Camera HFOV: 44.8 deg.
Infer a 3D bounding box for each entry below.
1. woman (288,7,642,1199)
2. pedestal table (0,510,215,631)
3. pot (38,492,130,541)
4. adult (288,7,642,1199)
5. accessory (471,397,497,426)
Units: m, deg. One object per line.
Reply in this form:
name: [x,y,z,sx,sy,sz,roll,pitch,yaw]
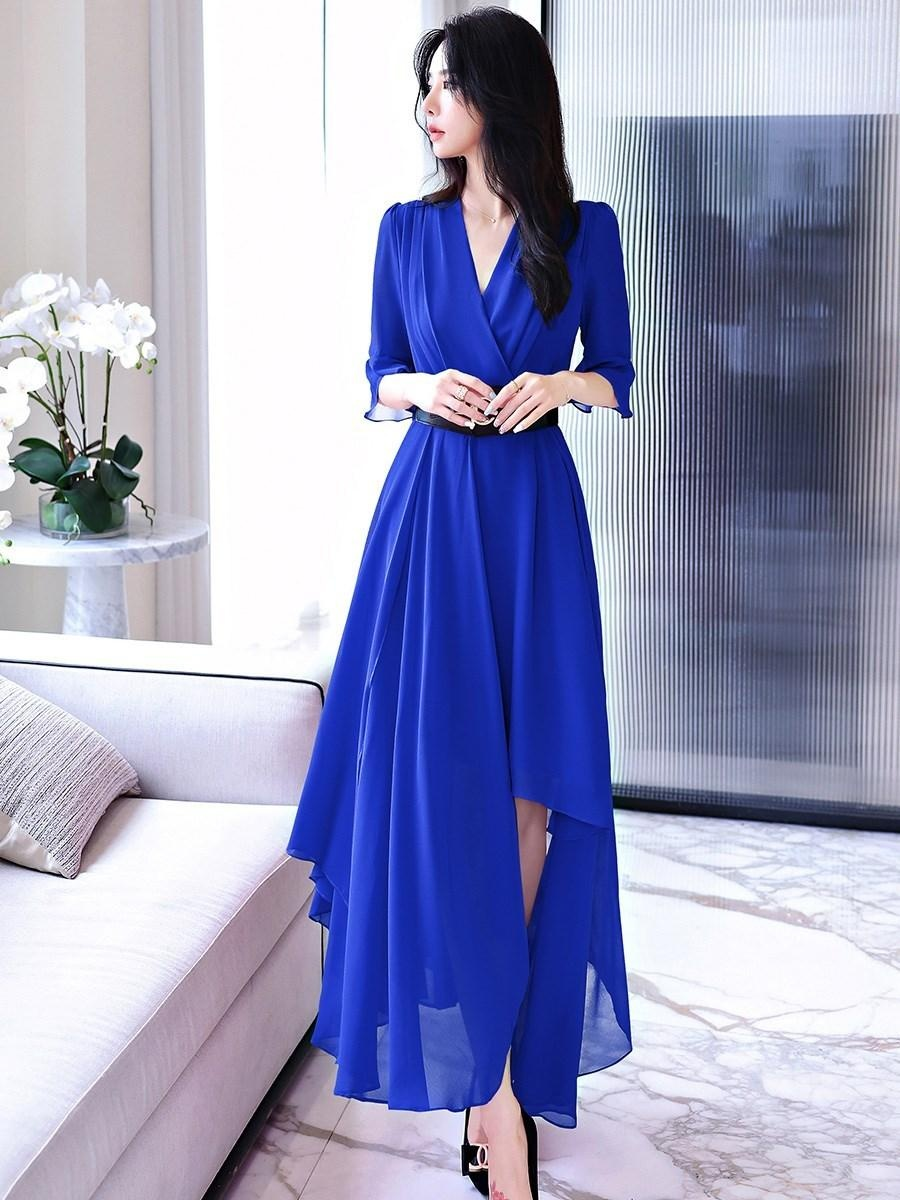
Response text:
woman: [0.018,0.047,1.470,0.478,1.576,0.351,1,7,7]
pedestal table: [-0.715,-0.058,2.257,0.261,0.246,0.298,2,12,-2]
pot: [-0.751,-0.170,2.237,0.175,0.080,0.152,-4,9,-24]
adult: [0.018,0.047,1.470,0.478,1.576,0.351,1,7,7]
accessory: [0.041,-0.231,1.348,0.010,0.036,0.024,17,7,-15]
